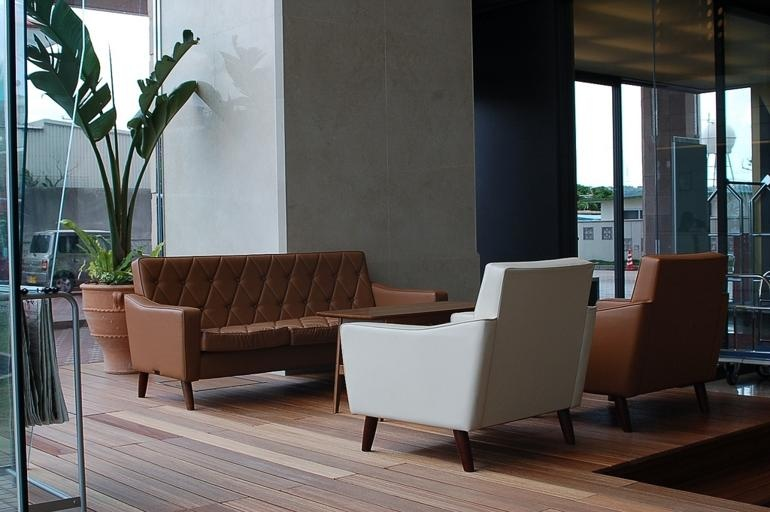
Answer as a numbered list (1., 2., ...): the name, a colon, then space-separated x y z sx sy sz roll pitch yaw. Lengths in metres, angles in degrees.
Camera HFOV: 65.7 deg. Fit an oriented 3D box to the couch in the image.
1. couch: -0.834 0.614 5.424 2.659 1.346 1.238 -1 -2 -40
